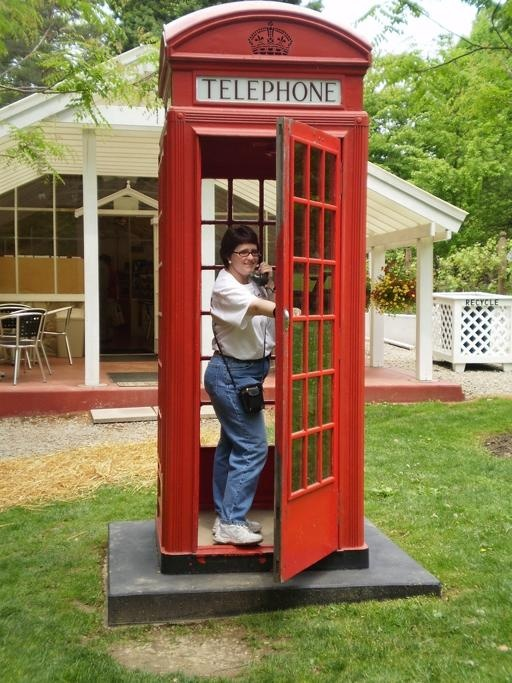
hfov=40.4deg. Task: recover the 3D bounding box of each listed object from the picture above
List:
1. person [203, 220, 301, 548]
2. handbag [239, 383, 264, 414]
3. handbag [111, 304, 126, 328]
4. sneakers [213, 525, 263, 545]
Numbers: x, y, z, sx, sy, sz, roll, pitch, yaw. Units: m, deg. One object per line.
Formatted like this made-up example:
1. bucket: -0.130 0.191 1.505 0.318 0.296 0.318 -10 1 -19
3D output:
1. person: -0.045 0.199 3.156 0.381 1.495 0.761 -1 2 -5
2. handbag: -0.026 0.251 3.054 0.118 0.117 0.075 -4 -8 -32
3. handbag: -3.111 -0.596 15.677 0.253 0.488 0.756 -1 2 -10
4. sneakers: -0.091 0.857 3.132 0.229 0.112 0.089 1 -1 8
